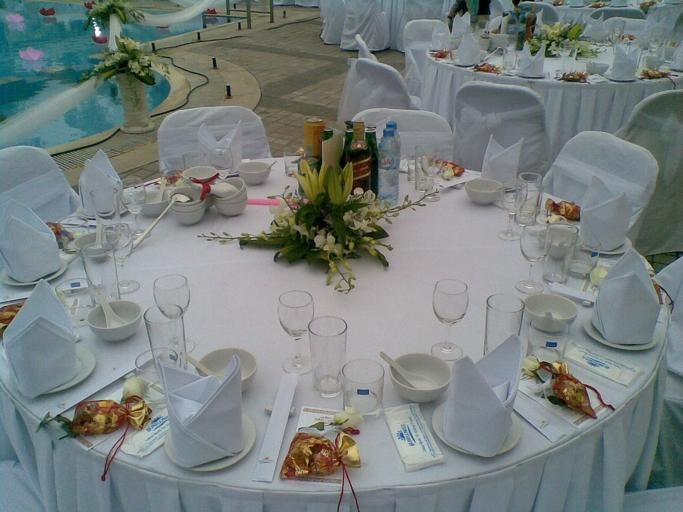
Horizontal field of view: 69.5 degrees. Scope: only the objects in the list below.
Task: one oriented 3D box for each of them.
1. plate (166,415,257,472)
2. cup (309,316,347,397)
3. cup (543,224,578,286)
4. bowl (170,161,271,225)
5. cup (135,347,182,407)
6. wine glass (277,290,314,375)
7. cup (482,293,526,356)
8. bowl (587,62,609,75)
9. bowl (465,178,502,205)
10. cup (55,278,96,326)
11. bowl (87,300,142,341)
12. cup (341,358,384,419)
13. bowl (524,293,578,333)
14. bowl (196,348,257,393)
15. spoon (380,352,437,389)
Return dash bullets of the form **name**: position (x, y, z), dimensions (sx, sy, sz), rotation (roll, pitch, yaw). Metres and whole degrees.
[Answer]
- **plate**: position (-0.324, 0.489, 1.264), dimensions (0.145, 0.024, 0.155), rotation (-3, 26, -8)
- **cup**: position (-0.039, 0.294, 1.420), dimensions (0.141, 0.258, 0.147), rotation (0, 23, 0)
- **cup**: position (0.808, -0.003, 1.827), dimensions (0.111, 0.210, 0.116), rotation (-3, 29, 2)
- **bowl**: position (-0.603, -0.295, 2.303), dimensions (0.333, 0.151, 0.230), rotation (-14, 42, -32)
- **cup**: position (-0.504, 0.340, 1.363), dimensions (0.092, 0.115, 0.096), rotation (5, 31, -3)
- **wine glass**: position (-0.139, 0.226, 1.526), dimensions (0.102, 0.187, 0.213), rotation (-2, 34, -5)
- **cup**: position (0.484, 0.208, 1.462), dimensions (0.104, 0.190, 0.109), rotation (-1, 24, 0)
- **bowl**: position (2.199, -1.594, 4.262), dimensions (0.152, 0.110, 0.156), rotation (-2, 27, 1)
- **bowl**: position (0.693, -0.316, 2.409), dimensions (0.132, 0.080, 0.142), rotation (-2, 37, 1)
- **cup**: position (-0.904, 0.162, 1.675), dimensions (0.093, 0.124, 0.108), rotation (2, 34, 2)
- **bowl**: position (-0.738, 0.235, 1.624), dimensions (0.157, 0.089, 0.168), rotation (-7, 2, 0)
- **cup**: position (0.061, 0.361, 1.420), dimensions (0.124, 0.158, 0.136), rotation (-1, 24, 0)
- **bowl**: position (0.679, 0.181, 1.608), dimensions (0.135, 0.074, 0.140), rotation (-2, 33, 1)
- **bowl**: position (-0.325, 0.313, 1.410), dimensions (0.101, 0.086, 0.174), rotation (6, 26, 3)
- **spoon**: position (0.188, 0.322, 1.408), dimensions (0.154, 0.091, 0.064), rotation (13, 35, 17)
